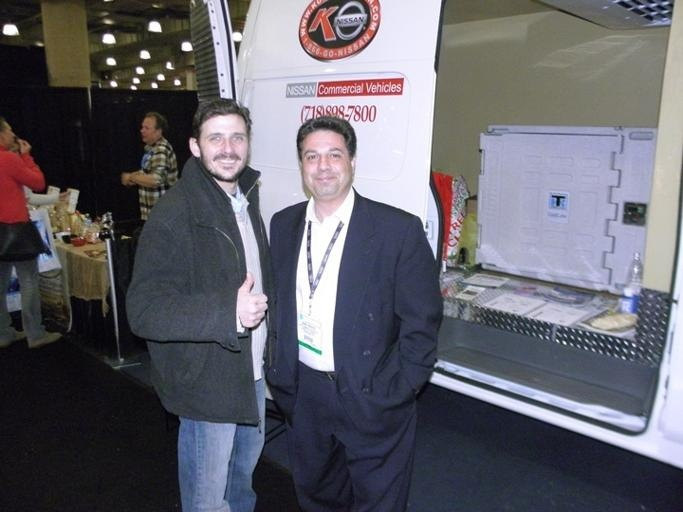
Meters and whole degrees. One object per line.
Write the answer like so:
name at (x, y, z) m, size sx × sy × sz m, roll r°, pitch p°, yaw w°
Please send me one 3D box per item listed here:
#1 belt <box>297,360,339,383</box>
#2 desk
belt at (-0.138, 0.622, 2.391) m, size 0.110 × 0.063 × 0.161 m, roll -7°, pitch -35°, yaw 46°
desk at (-2.586, 0.212, 4.703) m, size 1.055 × 0.600 × 0.258 m, roll 14°, pitch 20°, yaw 41°
